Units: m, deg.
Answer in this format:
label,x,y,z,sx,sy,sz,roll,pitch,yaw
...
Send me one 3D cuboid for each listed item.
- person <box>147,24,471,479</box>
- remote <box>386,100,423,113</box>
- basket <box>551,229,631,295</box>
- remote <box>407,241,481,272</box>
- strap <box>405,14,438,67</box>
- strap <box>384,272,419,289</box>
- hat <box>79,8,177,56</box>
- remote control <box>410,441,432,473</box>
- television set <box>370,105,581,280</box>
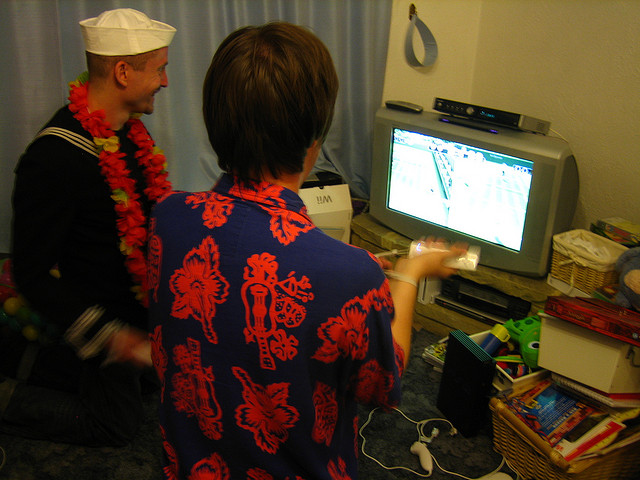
label,x,y,z,sx,sy,sz,roll,pitch,yaw
person,-0.076,0.106,1.181,0.643,1.095,0.414,8,27,9
remote,0.420,-0.676,2.585,0.088,0.033,0.175,-16,27,-43
basket,1.117,0.067,2.194,0.236,0.164,0.282,-15,23,-25
remote,0.366,0.043,1.561,0.216,0.052,0.120,10,0,21
strap,0.572,-1.119,2.900,0.203,0.276,0.084,12,28,18
strap,0.201,0.100,1.255,0.082,0.037,0.047,6,26,5
hat,-0.673,-0.734,1.821,0.306,0.144,0.142,-8,28,-21
remote control,0.405,0.855,2.021,0.057,0.035,0.091,-11,47,-32
television set,0.687,-0.246,2.473,0.965,0.636,0.250,24,33,36
